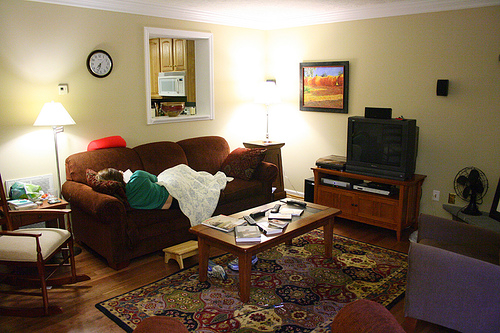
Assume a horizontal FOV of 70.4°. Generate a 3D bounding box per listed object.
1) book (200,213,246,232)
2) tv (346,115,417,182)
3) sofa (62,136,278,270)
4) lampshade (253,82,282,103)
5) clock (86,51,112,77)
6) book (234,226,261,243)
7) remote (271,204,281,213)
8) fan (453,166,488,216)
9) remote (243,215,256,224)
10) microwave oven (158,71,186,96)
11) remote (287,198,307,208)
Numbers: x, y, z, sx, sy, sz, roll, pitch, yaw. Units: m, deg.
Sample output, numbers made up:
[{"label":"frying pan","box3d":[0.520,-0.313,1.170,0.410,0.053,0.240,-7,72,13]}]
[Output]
[{"label":"book","box3d":[-0.255,0.644,4.075,0.425,0.053,0.394,7,13,35]},{"label":"tv","box3d":[2.047,-0.287,5.196,0.622,0.929,1.090,-8,13,-27]},{"label":"sofa","box3d":[-1.116,0.511,4.563,1.797,0.677,0.779,-10,12,-43]},{"label":"lampshade","box3d":[0.276,-1.272,6.244,0.434,0.252,0.398,0,6,1]},{"label":"clock","box3d":[-2.112,-1.444,5.007,0.407,0.338,0.378,-2,6,-4]},{"label":"book","box3d":[-0.030,0.714,3.794,0.274,0.074,0.335,-1,11,-1]},{"label":"remote","box3d":[0.309,0.519,4.308,0.067,0.020,0.210,2,11,15]},{"label":"fan","box3d":[2.904,0.318,4.714,0.417,0.582,0.461,7,15,32]},{"label":"remote","box3d":[-0.011,0.614,4.087,0.060,0.024,0.191,-14,21,-12]},{"label":"microwave oven","box3d":[-1.618,-1.682,7.212,0.276,0.504,1.037,-9,14,-29]},{"label":"remote","box3d":[0.591,0.472,4.570,0.303,0.066,0.149,8,14,38]}]
